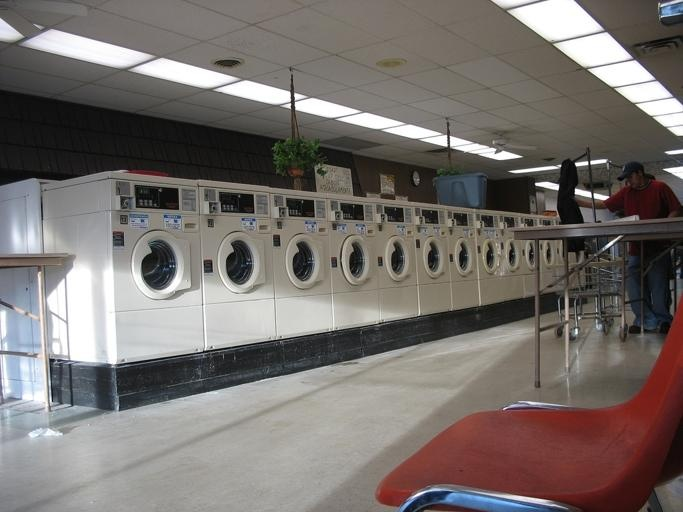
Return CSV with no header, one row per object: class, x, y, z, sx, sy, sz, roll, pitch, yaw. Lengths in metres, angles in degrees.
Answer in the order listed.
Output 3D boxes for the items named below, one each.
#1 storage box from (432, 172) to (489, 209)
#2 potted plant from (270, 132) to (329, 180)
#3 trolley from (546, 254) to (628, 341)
storage box,1.931,-1.023,7.498,0.833,0.502,0.596,-2,1,40
potted plant,-0.533,-1.113,5.384,0.506,0.369,0.466,-10,19,-13
trolley,3.346,0.563,6.382,0.953,1.294,1.852,0,3,28
